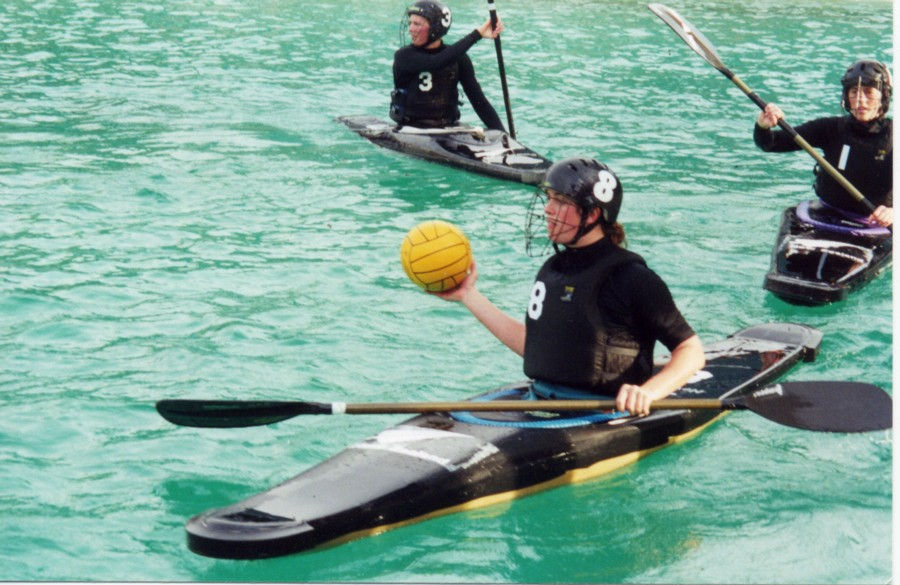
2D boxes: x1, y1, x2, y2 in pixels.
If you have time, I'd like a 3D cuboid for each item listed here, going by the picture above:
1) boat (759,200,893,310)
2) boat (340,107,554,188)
[{"bbox_3d":[4.016,-0.416,13.168,1.116,0.362,1.518,10,29,24],"label":"boat"},{"bbox_3d":[-0.193,-1.924,16.076,2.988,0.323,0.917,17,15,29],"label":"boat"}]
